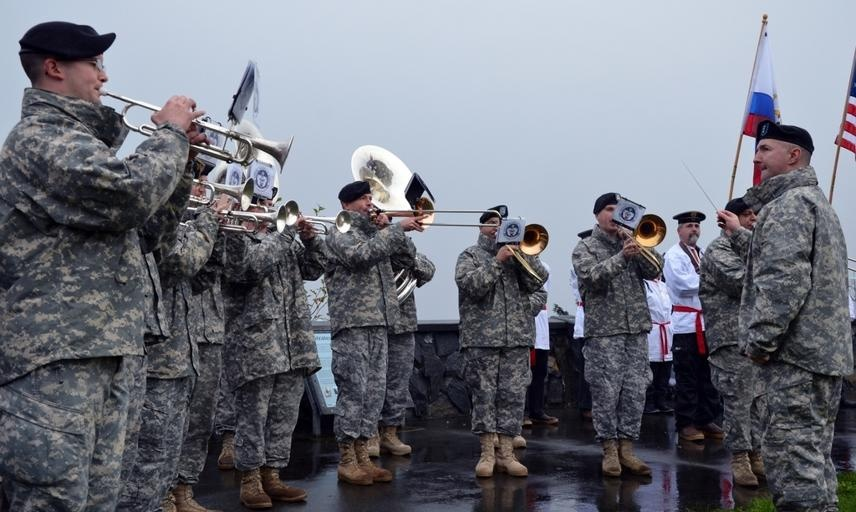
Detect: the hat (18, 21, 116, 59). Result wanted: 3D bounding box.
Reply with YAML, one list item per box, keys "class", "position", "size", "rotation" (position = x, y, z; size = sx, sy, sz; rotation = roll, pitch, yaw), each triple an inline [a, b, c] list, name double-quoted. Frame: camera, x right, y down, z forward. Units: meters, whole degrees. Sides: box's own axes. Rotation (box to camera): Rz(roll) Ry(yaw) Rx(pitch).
- class: "hat"
  position: [-2.146, -1.271, 5.246]
  size: [0.497, 0.226, 0.074]
  rotation: [0, 1, -17]

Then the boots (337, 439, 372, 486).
- class: "boots"
  position: [-0.675, 1.922, 8.232]
  size: [0.179, 0.347, 0.470]
  rotation: [2, -4, -38]

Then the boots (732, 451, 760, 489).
- class: "boots"
  position: [2.958, 1.969, 8.327]
  size: [0.203, 0.197, 0.596]
  rotation: [-8, 5, 12]

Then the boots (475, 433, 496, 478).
- class: "boots"
  position: [0.558, 1.908, 8.507]
  size: [0.172, 0.340, 0.483]
  rotation: [-1, 4, 16]

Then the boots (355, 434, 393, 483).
- class: "boots"
  position: [-0.540, 1.940, 8.381]
  size: [0.497, 0.342, 0.187]
  rotation: [2, 6, 44]

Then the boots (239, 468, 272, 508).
- class: "boots"
  position: [-1.483, 1.955, 7.479]
  size: [0.359, 0.324, 0.146]
  rotation: [1, 1, 30]

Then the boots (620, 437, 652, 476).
- class: "boots"
  position: [2.017, 1.951, 8.682]
  size: [0.160, 0.272, 0.442]
  rotation: [3, 2, -28]

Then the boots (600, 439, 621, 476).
- class: "boots"
  position: [1.770, 1.925, 8.566]
  size: [0.144, 0.268, 0.438]
  rotation: [-3, 4, 8]
